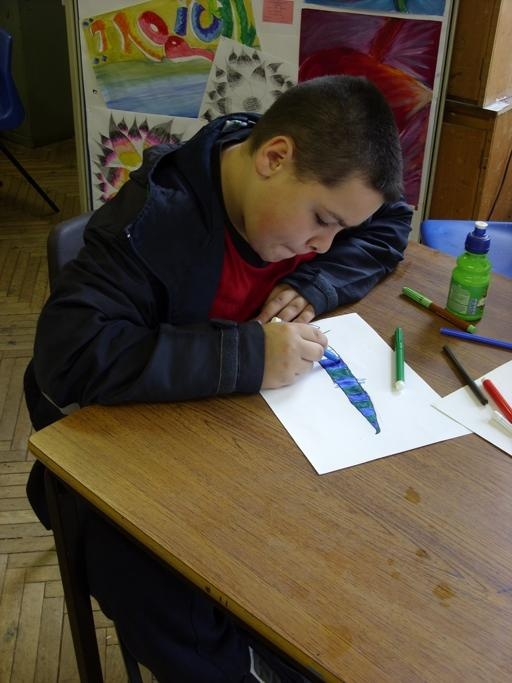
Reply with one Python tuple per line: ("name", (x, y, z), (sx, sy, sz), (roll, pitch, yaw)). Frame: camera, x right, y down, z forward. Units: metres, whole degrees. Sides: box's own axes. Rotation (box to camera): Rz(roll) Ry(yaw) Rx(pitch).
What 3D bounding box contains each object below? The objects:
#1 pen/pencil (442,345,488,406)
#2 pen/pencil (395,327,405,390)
("pen/pencil", (0.293, 0.052, 0.745), (0.016, 0.015, 0.098), (12, 30, -18))
("pen/pencil", (0.209, 0.025, 0.767), (0.017, 0.016, 0.129), (-15, 24, 23))
